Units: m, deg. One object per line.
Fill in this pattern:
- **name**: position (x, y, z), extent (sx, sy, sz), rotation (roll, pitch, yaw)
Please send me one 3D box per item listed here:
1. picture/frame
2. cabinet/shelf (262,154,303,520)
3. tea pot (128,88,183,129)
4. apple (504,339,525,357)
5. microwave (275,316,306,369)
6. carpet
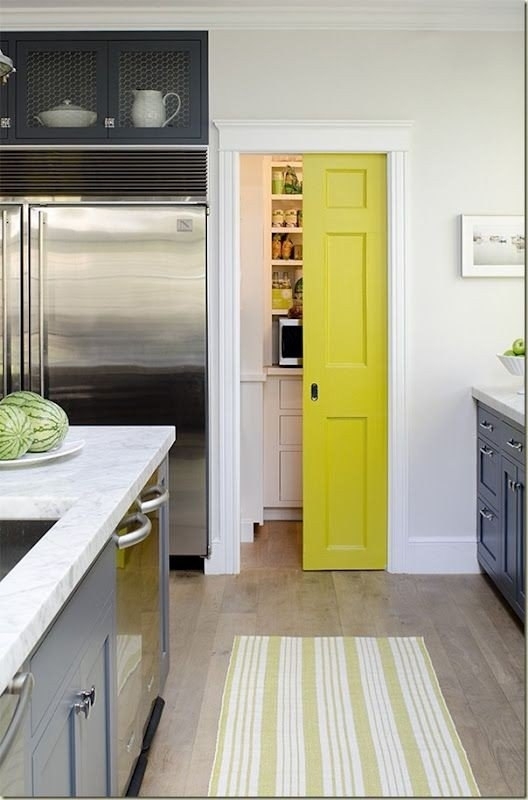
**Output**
- **picture/frame**: position (1.032, -0.702, 2.755), extent (0.350, 0.373, 0.014), rotation (-1, 4, -1)
- **cabinet/shelf**: position (0.113, -0.410, 3.770), extent (0.229, 2.243, 0.534), rotation (0, 3, 3)
- **tea pot**: position (-0.487, -1.259, 2.677), extent (0.197, 0.174, 0.143), rotation (0, 21, -13)
- **apple**: position (1.053, -0.221, 2.595), extent (0.073, 0.075, 0.318), rotation (1, 5, 21)
- **microwave**: position (0.157, -0.340, 3.603), extent (0.166, 0.359, 0.222), rotation (0, 0, 1)
- **carpet**: position (0.209, 0.885, 1.803), extent (0.669, 0.029, 0.808), rotation (0, 5, 2)
